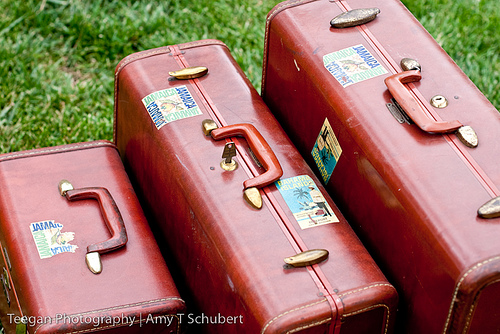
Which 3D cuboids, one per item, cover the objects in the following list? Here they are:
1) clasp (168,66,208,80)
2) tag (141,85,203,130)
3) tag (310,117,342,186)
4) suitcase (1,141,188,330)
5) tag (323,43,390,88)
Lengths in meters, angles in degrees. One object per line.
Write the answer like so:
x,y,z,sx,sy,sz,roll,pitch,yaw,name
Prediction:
-0.337,-0.526,2.728,0.158,0.036,0.089,-6,25,-14,clasp
-0.412,-0.299,2.665,0.239,0.051,0.240,-23,61,-9,tag
0.397,-0.087,2.601,0.015,0.224,0.306,-7,55,-17,tag
-0.774,0.485,2.600,0.787,0.619,1.073,-4,49,-35,suitcase
0.544,-0.511,2.569,0.242,0.102,0.365,-7,32,-5,tag
